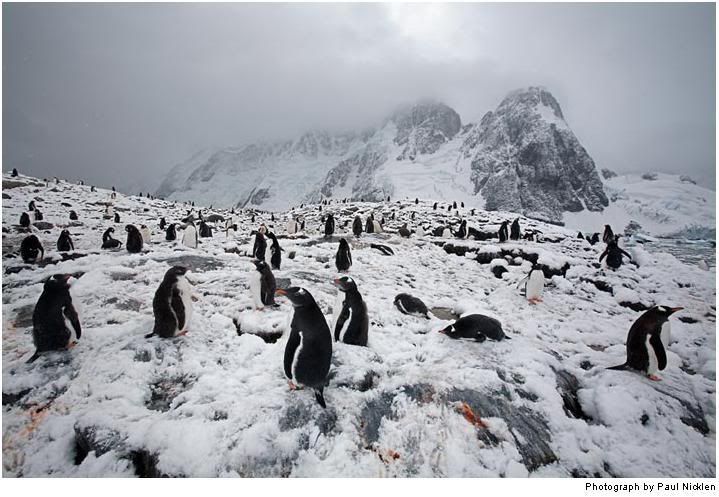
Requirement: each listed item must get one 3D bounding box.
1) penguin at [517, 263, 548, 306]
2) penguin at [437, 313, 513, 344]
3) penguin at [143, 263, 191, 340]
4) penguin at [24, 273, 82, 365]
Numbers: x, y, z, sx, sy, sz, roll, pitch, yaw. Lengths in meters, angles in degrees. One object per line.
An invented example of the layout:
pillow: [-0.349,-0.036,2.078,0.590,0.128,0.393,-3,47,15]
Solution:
penguin: [4.480,0.919,10.903,0.867,1.129,0.846,2,-3,40]
penguin: [2.309,1.551,8.184,1.324,0.471,0.295,3,5,-7]
penguin: [-3.337,0.904,7.616,0.781,1.234,0.934,-1,8,-13]
penguin: [-5.210,1.156,7.064,0.758,1.489,0.294,-1,7,-38]
